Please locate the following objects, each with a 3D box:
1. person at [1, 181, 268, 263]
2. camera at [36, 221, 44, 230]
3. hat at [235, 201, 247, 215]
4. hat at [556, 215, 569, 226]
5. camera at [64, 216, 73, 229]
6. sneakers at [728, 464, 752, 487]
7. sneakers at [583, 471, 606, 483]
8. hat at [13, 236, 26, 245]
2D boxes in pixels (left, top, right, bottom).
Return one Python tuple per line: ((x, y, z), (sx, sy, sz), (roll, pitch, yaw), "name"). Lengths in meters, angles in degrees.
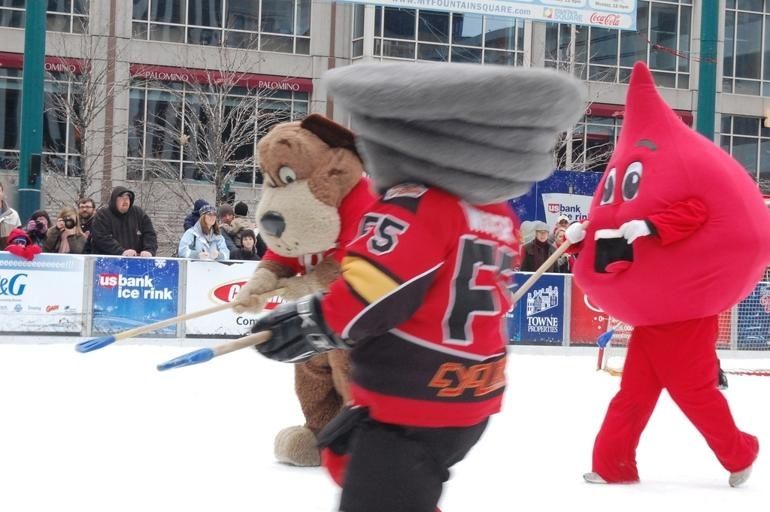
((-4.282, -0.537, 20.656), (3.662, 1.165, 0.756), (-1, 16, -12), "person")
((-5.551, -0.489, 20.696), (0.117, 0.096, 0.116), (11, -7, -22), "camera")
((-2.488, -0.797, 22.162), (0.205, 0.219, 0.246), (24, 7, -7), "hat")
((3.033, -0.608, 22.304), (0.204, 0.239, 0.133), (2, 1, 13), "hat")
((-5.018, -0.524, 20.508), (0.132, 0.160, 0.119), (-31, 4, -16), "camera")
((4.268, 2.644, 15.652), (0.078, 0.297, 0.205), (44, 13, -28), "sneakers")
((2.508, 2.668, 15.651), (0.221, 0.055, 0.132), (12, 24, 41), "sneakers")
((-5.734, -0.237, 20.256), (0.145, 0.094, 0.185), (9, -12, -36), "hat")
